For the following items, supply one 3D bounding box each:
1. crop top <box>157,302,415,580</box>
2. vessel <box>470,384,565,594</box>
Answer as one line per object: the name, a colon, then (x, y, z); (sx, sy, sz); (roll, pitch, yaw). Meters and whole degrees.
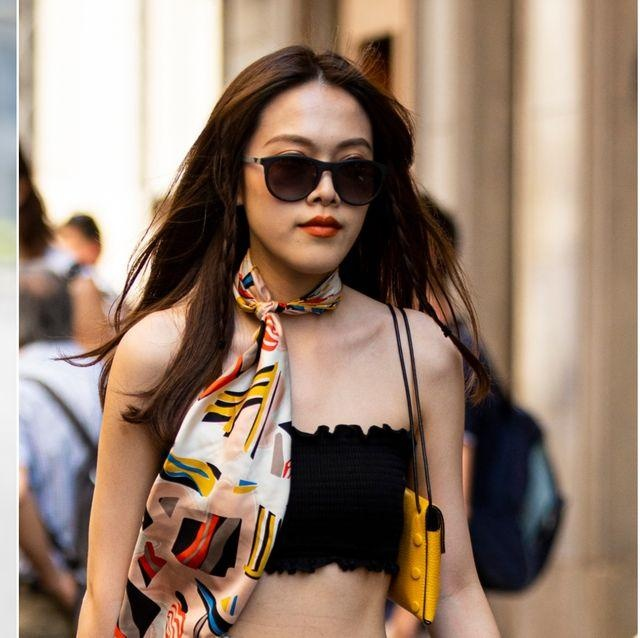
crop top: (0.060, 0.322, 2.488); (0.470, 0.386, 0.323); (15, -33, -8)
vessel: (0.763, 0.672, 3.928); (0.437, 0.785, 0.505); (5, -10, -12)
